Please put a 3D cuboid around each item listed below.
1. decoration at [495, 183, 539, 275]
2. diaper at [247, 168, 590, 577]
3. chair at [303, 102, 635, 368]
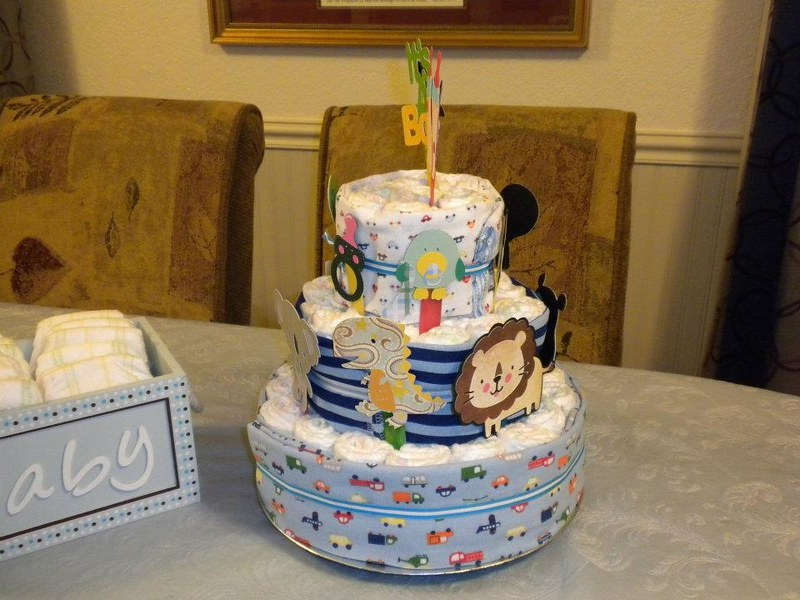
[{"bbox_3d":[0.179,-0.121,1.123,0.086,0.116,0.027,12,12,40],"label":"decoration"},{"bbox_3d":[0.051,0.087,1.114,0.565,0.458,0.523,-5,24,-8],"label":"diaper"},{"bbox_3d":[0.154,-0.123,1.256,0.505,0.641,0.365,8,28,11],"label":"chair"}]
